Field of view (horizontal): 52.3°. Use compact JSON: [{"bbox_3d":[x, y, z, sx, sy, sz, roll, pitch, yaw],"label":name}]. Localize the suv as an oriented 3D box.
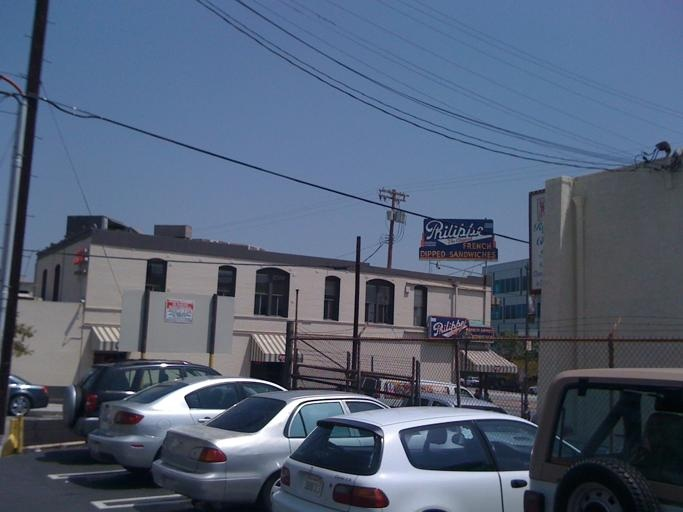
[{"bbox_3d":[-4.519,2.741,14.211,3.435,1.278,1.565,0,-3,-29],"label":"suv"}]
